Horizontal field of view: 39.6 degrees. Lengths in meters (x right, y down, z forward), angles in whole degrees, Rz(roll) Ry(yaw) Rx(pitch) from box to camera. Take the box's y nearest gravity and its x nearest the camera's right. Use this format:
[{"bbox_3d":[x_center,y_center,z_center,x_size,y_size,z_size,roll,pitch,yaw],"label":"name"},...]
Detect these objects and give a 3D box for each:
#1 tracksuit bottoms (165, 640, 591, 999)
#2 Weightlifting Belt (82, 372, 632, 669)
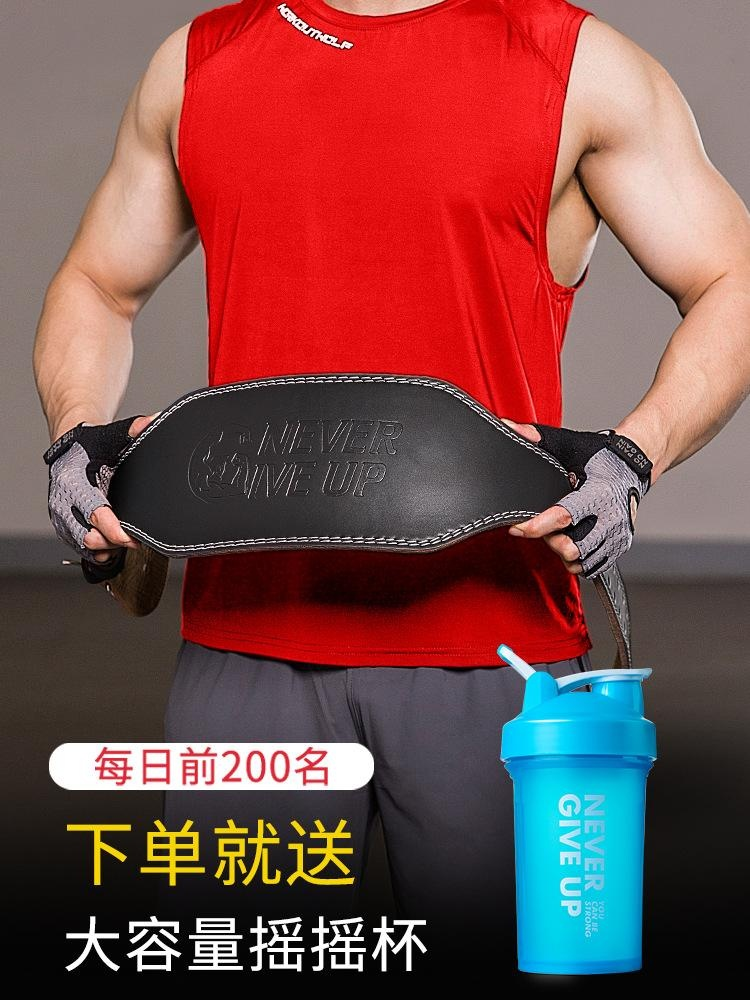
[{"bbox_3d":[0.019,0.245,1.066,0.525,0.277,0.388,0,87,5],"label":"tracksuit bottoms"},{"bbox_3d":[-0.048,0.008,0.901,0.581,0.270,0.160,2,80,8],"label":"Weightlifting Belt"}]
